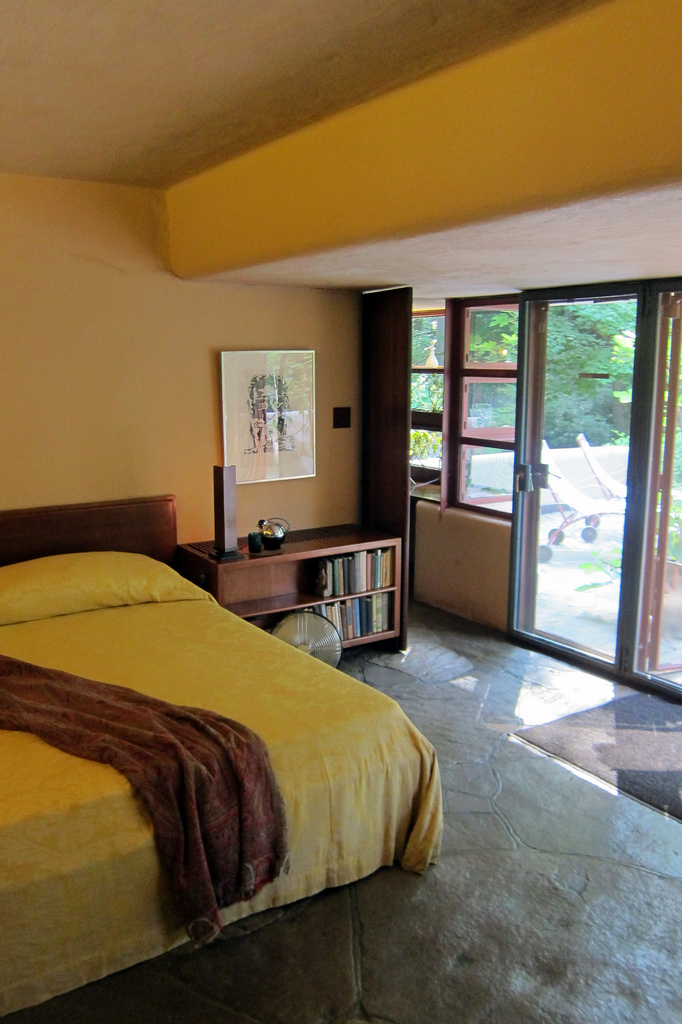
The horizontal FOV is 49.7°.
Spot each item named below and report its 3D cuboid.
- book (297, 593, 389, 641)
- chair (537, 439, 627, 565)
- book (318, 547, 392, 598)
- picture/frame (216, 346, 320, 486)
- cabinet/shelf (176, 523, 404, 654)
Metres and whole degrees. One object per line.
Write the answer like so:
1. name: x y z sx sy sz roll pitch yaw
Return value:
1. book: -0.009 0.607 4.220 0.288 0.274 0.119 -6 10 -36
2. chair: 1.426 -0.052 4.396 0.316 0.417 0.627 -6 13 -12
3. book: 0.109 0.366 4.301 0.354 0.130 0.279 -1 4 -21
4. picture/frame: -0.447 -0.570 4.261 0.768 0.942 0.037 -8 14 -37
5. cabinet/shelf: -0.276 0.512 4.342 1.254 0.701 0.475 -5 12 -35
